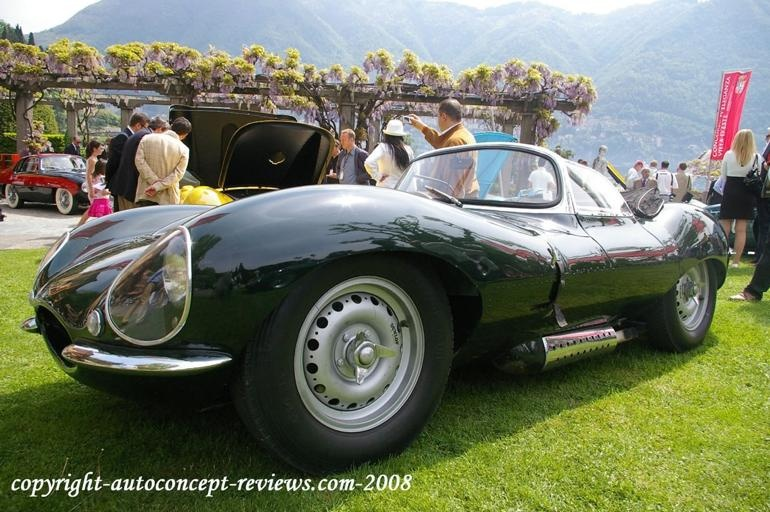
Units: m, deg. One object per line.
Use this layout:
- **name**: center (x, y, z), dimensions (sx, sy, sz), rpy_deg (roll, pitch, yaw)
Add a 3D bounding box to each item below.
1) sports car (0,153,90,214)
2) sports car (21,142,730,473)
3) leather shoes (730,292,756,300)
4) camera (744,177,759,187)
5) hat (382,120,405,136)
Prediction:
- **sports car**: center (-8.484, -1.885, 13.094), dimensions (2.629, 0.943, 1.537), rpy_deg (3, 6, 33)
- **sports car**: center (0.300, 0.121, 3.232), dimensions (3.848, 1.279, 2.029), rpy_deg (-2, -3, -30)
- **leather shoes**: center (3.703, 0.411, 5.274), dimensions (0.287, 0.087, 0.102), rpy_deg (2, 11, -16)
- **camera**: center (4.825, -0.984, 6.701), dimensions (0.161, 0.114, 0.044), rpy_deg (9, 12, 19)
- **hat**: center (0.093, -1.342, 5.284), dimensions (0.224, 0.163, 0.450), rpy_deg (4, 11, -2)
